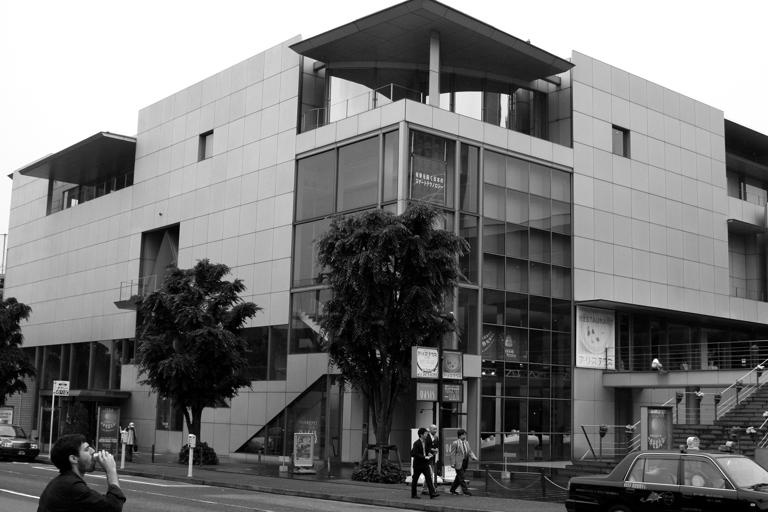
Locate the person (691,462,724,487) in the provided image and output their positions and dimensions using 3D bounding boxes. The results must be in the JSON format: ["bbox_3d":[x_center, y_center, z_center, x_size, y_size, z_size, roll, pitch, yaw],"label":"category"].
[{"bbox_3d":[9.310,6.255,25.601,0.707,0.707,0.729,11,-10,-41],"label":"person"}]
